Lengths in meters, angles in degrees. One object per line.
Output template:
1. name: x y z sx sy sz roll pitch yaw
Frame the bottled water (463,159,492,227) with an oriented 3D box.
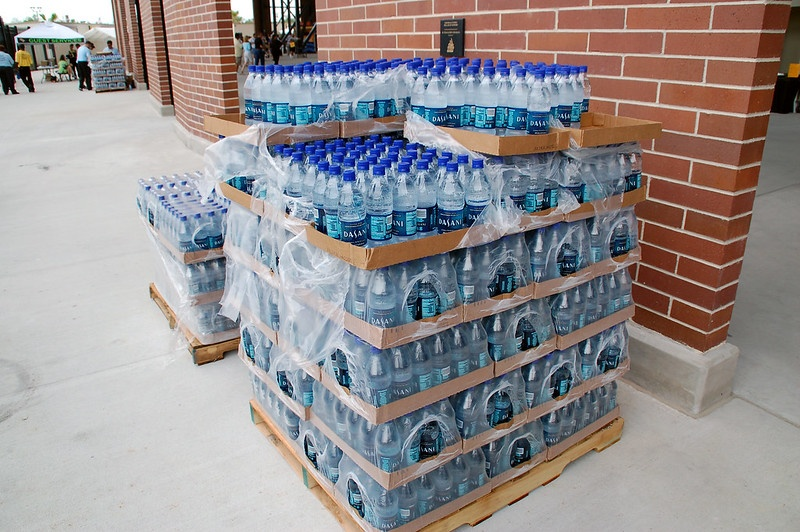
1. bottled water: 0.491 -0.447 3.707 0.160 0.322 0.229 17 31 36
